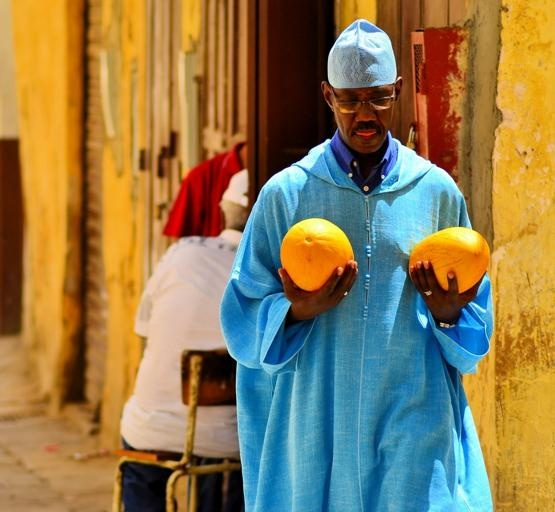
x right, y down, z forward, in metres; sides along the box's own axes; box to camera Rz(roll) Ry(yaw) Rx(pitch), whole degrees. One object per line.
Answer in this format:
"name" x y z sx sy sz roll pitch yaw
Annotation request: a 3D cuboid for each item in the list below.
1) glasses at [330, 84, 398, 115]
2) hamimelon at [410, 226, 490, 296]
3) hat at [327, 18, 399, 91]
"glasses" 0.357 -0.637 4.907 0.242 0.109 0.106 4 9 11
"hamimelon" 0.736 -0.051 4.907 0.241 0.300 0.337 14 -7 -27
"hat" 0.366 -0.827 5.030 0.244 0.289 0.408 -2 7 14
